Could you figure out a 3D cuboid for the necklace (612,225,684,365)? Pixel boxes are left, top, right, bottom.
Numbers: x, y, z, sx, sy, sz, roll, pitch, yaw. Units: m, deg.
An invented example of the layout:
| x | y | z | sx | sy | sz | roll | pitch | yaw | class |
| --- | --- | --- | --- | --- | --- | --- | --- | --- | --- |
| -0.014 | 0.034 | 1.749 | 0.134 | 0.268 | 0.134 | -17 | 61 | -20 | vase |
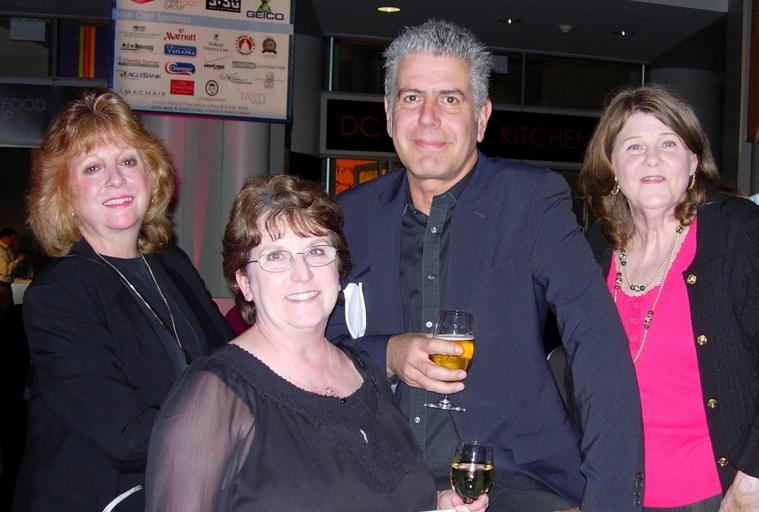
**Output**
| x | y | z | sx | sy | sz | roll | pitch | yaw | class |
| --- | --- | --- | --- | --- | --- | --- | --- | --- | --- |
| 1.315 | 0.126 | 3.197 | 0.242 | 0.850 | 0.063 | 10 | -22 | 42 | necklace |
